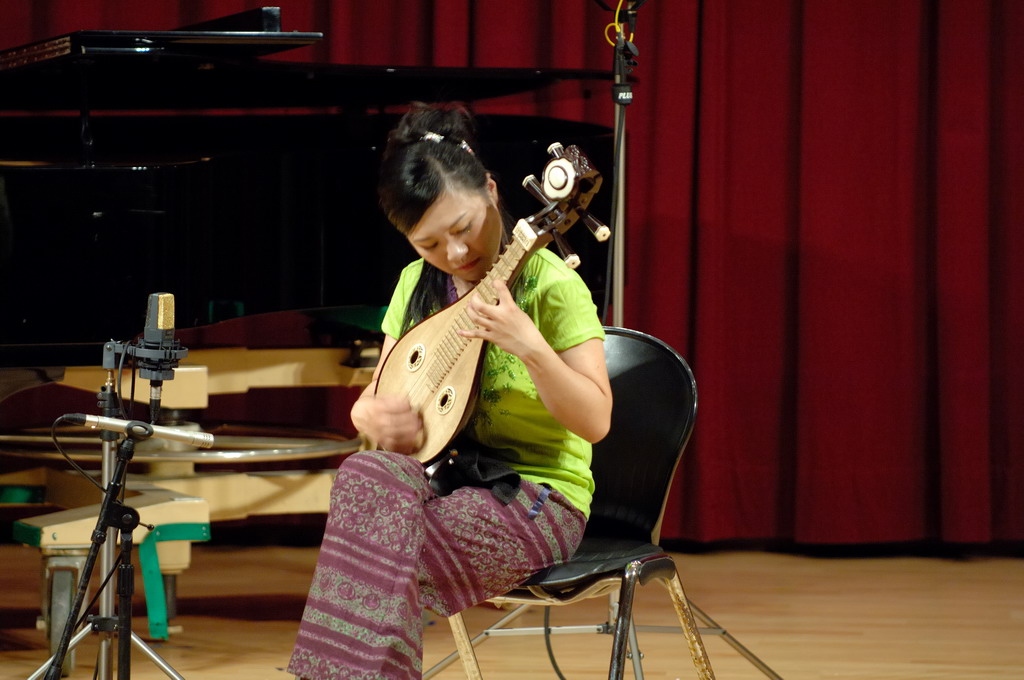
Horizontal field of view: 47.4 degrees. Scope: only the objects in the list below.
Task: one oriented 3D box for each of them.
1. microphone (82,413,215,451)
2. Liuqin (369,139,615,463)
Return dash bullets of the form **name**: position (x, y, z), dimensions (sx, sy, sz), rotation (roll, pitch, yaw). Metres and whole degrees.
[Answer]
- **microphone**: position (-0.984, 0.241, 3.123), dimensions (0.311, 0.078, 0.405), rotation (4, -2, -21)
- **Liuqin**: position (-0.104, 0.027, 3.114), dimensions (0.390, 1.094, 0.214), rotation (34, 8, 26)
